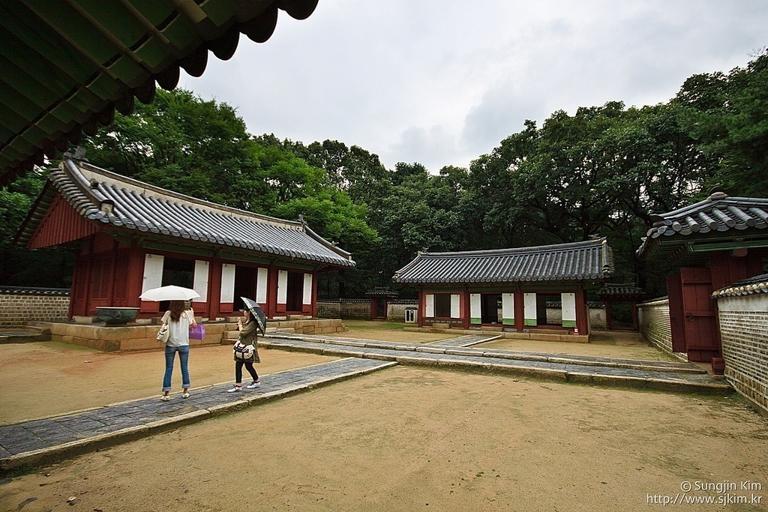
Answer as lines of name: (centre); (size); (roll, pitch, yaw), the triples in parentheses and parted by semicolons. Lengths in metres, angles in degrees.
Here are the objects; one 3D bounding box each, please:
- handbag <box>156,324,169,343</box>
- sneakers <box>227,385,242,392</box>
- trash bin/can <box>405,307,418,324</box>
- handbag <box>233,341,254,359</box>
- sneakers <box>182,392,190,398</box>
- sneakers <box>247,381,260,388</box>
handbag: (-4.084, 1.427, 7.829); (0.201, 0.356, 0.542); (-5, 10, -30)
sneakers: (-2.875, 2.579, 8.178); (0.359, 0.145, 0.114); (-3, -14, 8)
trash bin/can: (1.501, 3.459, 23.977); (0.632, 0.937, 1.063); (1, 9, 5)
handbag: (-2.718, 1.830, 8.220); (0.419, 0.215, 0.370); (4, 25, -1)
sneakers: (-3.649, 2.573, 7.810); (0.105, 0.041, 0.134); (-9, -10, 19)
sneakers: (-2.583, 2.570, 8.356); (0.269, 0.101, 0.093); (-2, -11, 3)
